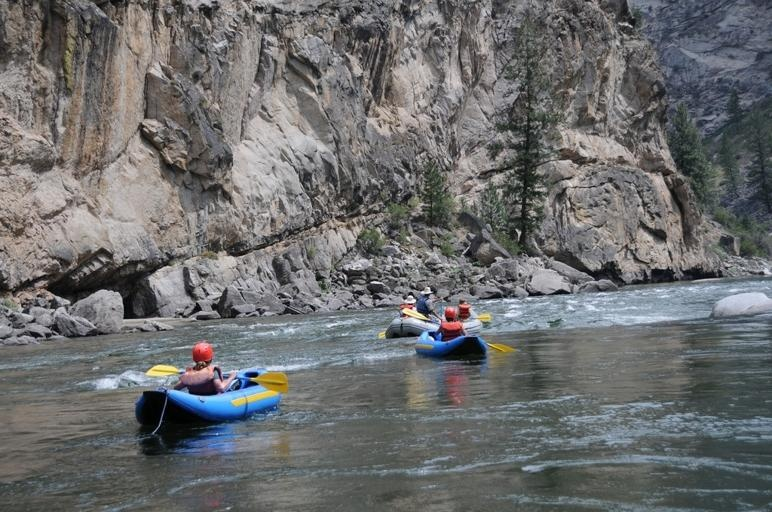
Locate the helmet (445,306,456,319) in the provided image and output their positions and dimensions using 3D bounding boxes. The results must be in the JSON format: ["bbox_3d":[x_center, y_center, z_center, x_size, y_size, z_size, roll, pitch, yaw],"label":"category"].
[{"bbox_3d":[2.827,2.468,42.073,0.440,0.431,0.467,3,16,4],"label":"helmet"}]

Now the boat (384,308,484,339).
[{"bbox_3d":[1.794,3.050,44.534,4.135,1.400,6.100,2,-5,4],"label":"boat"}]

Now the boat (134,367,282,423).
[{"bbox_3d":[-6.502,5.409,36.207,5.348,1.599,0.872,-6,14,-17],"label":"boat"}]

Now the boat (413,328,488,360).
[{"bbox_3d":[2.757,3.922,42.831,3.511,0.950,2.686,-1,-1,-1],"label":"boat"}]
